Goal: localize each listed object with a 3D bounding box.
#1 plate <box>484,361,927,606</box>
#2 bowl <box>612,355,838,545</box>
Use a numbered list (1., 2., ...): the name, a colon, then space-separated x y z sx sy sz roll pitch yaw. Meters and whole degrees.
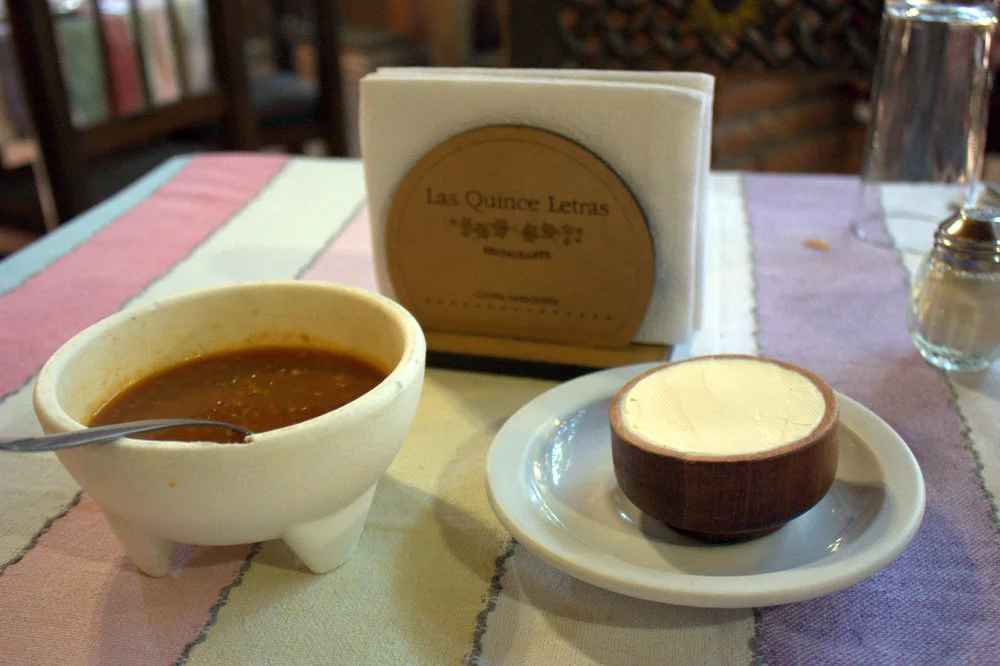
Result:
1. plate: 0.150 0.124 0.563 0.215 0.040 0.203 -8 30 -8
2. bowl: 0.160 0.078 0.572 0.140 0.068 0.132 -8 28 4
